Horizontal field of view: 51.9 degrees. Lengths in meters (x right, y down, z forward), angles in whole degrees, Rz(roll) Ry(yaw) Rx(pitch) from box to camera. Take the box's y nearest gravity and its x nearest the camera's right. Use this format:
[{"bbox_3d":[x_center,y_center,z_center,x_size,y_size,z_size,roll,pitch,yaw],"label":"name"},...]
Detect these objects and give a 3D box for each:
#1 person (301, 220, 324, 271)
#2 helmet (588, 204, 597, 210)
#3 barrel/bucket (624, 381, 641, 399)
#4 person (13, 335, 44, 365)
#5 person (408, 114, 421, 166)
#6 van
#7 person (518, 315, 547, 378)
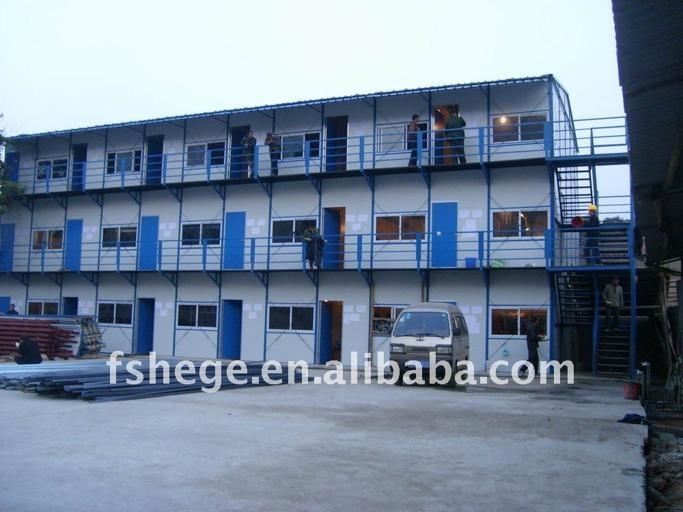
[{"bbox_3d":[-1.123,-0.367,28.232,0.862,1.837,1.416,1,-8,-3],"label":"person"},{"bbox_3d":[9.153,-1.761,25.580,0.287,0.249,0.421,1,6,25],"label":"helmet"},{"bbox_3d":[7.638,3.536,18.495,0.384,0.419,0.396,0,-8,0],"label":"barrel/bucket"},{"bbox_3d":[-10.155,3.046,22.695,0.723,0.888,2.226,4,-9,-24],"label":"person"},{"bbox_3d":[2.826,-4.579,27.485,0.455,2.330,1.420,0,-7,6],"label":"person"},{"bbox_3d":[2.569,2.603,20.961,2.066,2.494,2.107,-1,-8,10],"label":"van"},{"bbox_3d":[6.866,3.058,24.884,0.714,2.218,1.454,-1,-8,15],"label":"person"}]
